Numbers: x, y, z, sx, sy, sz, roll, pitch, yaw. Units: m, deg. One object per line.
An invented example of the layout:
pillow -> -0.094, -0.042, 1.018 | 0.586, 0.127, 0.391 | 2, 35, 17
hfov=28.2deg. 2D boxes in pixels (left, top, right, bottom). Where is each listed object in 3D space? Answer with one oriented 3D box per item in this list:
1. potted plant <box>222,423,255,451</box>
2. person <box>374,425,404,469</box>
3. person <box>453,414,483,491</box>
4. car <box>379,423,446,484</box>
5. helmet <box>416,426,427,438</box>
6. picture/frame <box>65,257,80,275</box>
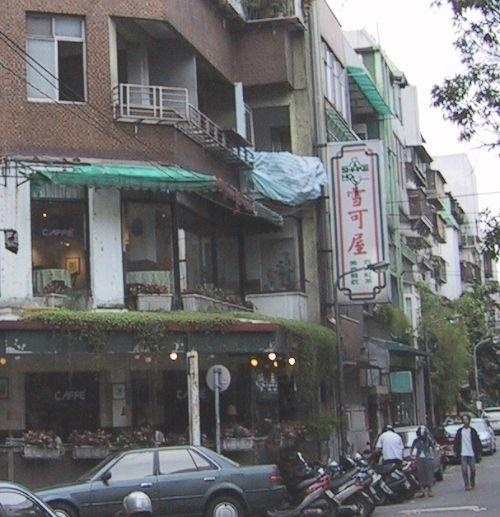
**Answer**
potted plant -> -0.299, 4.054, 22.598 | 0.507, 0.393, 0.553 | 7, -11, -29
person -> 3.146, 4.204, 22.370 | 0.621, 1.192, 0.689 | -1, -5, 22
person -> 4.982, 4.421, 22.868 | 0.595, 1.687, 1.408 | -5, -9, 13
car -> 4.561, 5.282, 27.037 | 1.072, 1.372, 2.228 | -2, -3, 24
helmet -> 3.886, 3.927, 22.636 | 0.218, 0.276, 0.166 | -1, -7, -45
picture/frame -> -4.039, 0.141, 22.614 | 0.345, 0.379, 0.050 | 1, -8, -28
